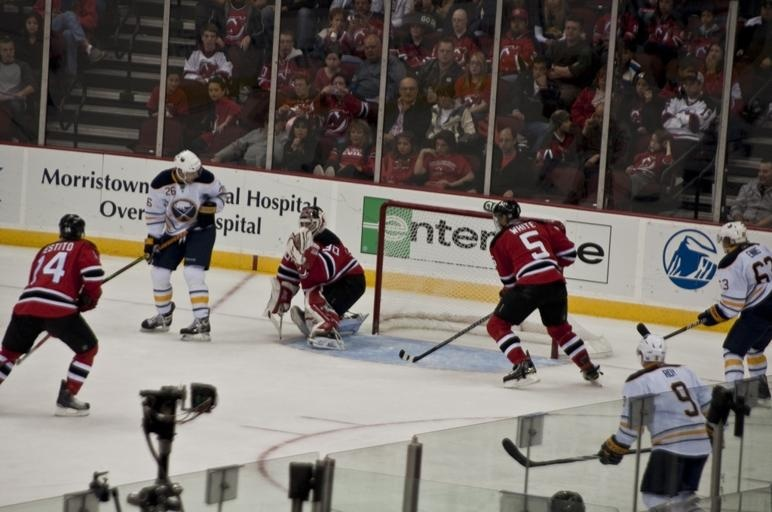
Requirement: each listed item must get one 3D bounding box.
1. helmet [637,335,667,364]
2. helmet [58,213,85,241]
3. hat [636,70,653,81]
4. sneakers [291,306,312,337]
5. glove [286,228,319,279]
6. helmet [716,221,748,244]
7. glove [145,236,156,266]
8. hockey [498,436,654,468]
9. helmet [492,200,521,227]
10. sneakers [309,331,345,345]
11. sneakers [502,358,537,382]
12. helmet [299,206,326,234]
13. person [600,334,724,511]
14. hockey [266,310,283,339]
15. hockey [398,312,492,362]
[{"bbox_3d":[2.113,0.718,10.437,0.207,0.197,0.239,3,11,6],"label":"helmet"},{"bbox_3d":[-2.686,-0.258,11.390,0.228,0.231,0.257,0,10,-10],"label":"helmet"},{"bbox_3d":[2.914,-2.019,14.872,0.176,0.097,0.030,3,1,3],"label":"hat"},{"bbox_3d":[-0.859,0.648,13.309,0.236,0.272,0.333,3,0,-3],"label":"sneakers"},{"bbox_3d":[-0.875,-0.065,13.067,0.201,0.419,0.323,-2,30,-37],"label":"glove"},{"bbox_3d":[3.240,-0.229,12.408,0.260,0.211,0.198,10,11,38],"label":"helmet"},{"bbox_3d":[-2.360,-0.073,13.248,0.106,0.229,0.147,12,-13,-38],"label":"glove"},{"bbox_3d":[1.224,1.460,9.859,0.767,0.210,0.036,3,1,-15],"label":"hockey"},{"bbox_3d":[1.164,-0.412,12.628,0.248,0.248,0.278,-8,14,-41],"label":"helmet"},{"bbox_3d":[-0.606,0.805,13.071,0.337,0.109,0.097,3,1,-5],"label":"sneakers"},{"bbox_3d":[1.231,1.055,12.245,0.296,0.230,0.161,3,1,5],"label":"sneakers"},{"bbox_3d":[-0.731,-0.355,13.367,0.252,0.252,0.285,-4,-16,3],"label":"helmet"},{"bbox_3d":[2.064,1.363,10.048,0.848,1.267,0.296,3,1,3],"label":"person"},{"bbox_3d":[-1.096,0.681,13.421,0.126,0.269,0.200,-10,11,-19],"label":"hockey"},{"bbox_3d":[0.598,0.824,13.483,0.785,0.148,0.081,-29,22,17],"label":"hockey"}]
